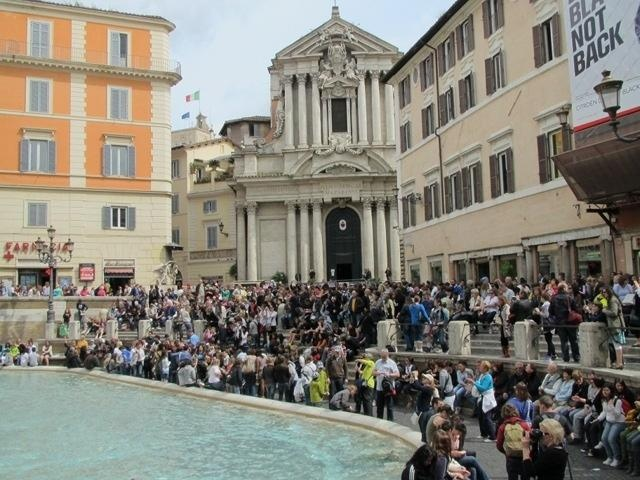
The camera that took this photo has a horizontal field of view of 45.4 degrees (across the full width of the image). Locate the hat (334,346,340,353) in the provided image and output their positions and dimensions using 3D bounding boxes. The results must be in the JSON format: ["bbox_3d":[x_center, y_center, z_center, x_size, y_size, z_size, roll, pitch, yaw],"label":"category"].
[{"bbox_3d":[0.624,3.935,27.164,0.176,0.199,0.073,0,-9,-1],"label":"hat"}]

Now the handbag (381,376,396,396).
[{"bbox_3d":[2.239,4.854,25.117,0.379,0.608,0.536,-1,-9,3],"label":"handbag"}]

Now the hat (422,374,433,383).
[{"bbox_3d":[3.139,4.082,22.209,0.290,0.287,0.311,-2,-9,7],"label":"hat"}]

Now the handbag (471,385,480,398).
[{"bbox_3d":[4.916,4.836,24.218,0.229,0.419,0.995,-2,-9,9],"label":"handbag"}]

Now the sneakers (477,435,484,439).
[{"bbox_3d":[4.935,6.106,23.568,0.223,0.101,0.092,1,-4,12],"label":"sneakers"}]

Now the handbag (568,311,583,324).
[{"bbox_3d":[8.128,2.493,24.305,0.373,0.339,0.295,-15,2,38],"label":"handbag"}]

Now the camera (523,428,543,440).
[{"bbox_3d":[5.097,4.682,18.366,0.251,0.140,0.338,13,0,-7],"label":"camera"}]

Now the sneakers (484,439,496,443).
[{"bbox_3d":[5.134,6.122,23.221,0.216,0.093,0.117,1,-12,0],"label":"sneakers"}]

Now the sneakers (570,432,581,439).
[{"bbox_3d":[7.360,5.676,22.010,0.318,0.206,0.198,-4,-10,22],"label":"sneakers"}]
